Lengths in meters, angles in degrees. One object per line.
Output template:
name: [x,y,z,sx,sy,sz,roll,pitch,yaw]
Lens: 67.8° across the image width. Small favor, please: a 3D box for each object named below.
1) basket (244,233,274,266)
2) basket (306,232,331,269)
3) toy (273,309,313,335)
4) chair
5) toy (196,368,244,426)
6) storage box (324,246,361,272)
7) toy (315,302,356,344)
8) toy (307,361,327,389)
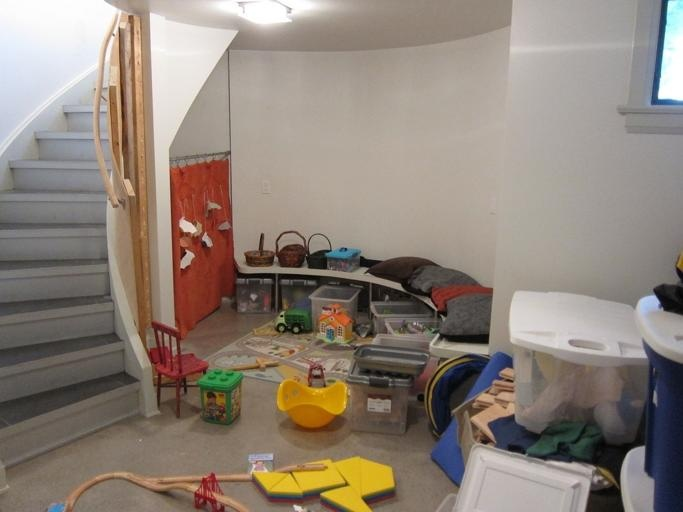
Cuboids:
basket: [-0.871,-0.048,5.150,0.306,0.325,0.310,18,17,33]
basket: [-0.198,-0.054,5.172,0.226,0.367,0.352,4,15,16]
toy: [-0.451,0.599,4.644,0.266,0.150,0.198,3,4,13]
chair: [-1.151,0.815,3.559,0.309,0.617,0.302,21,32,27]
toy: [-0.742,0.863,3.362,0.305,0.374,0.313,6,14,17]
storage box: [0.035,0.029,4.983,0.246,0.186,0.249,8,12,38]
toy: [-0.053,0.568,4.558,0.319,0.299,0.305,4,8,31]
toy: [-0.173,0.834,3.522,0.145,0.189,0.101,2,21,4]
